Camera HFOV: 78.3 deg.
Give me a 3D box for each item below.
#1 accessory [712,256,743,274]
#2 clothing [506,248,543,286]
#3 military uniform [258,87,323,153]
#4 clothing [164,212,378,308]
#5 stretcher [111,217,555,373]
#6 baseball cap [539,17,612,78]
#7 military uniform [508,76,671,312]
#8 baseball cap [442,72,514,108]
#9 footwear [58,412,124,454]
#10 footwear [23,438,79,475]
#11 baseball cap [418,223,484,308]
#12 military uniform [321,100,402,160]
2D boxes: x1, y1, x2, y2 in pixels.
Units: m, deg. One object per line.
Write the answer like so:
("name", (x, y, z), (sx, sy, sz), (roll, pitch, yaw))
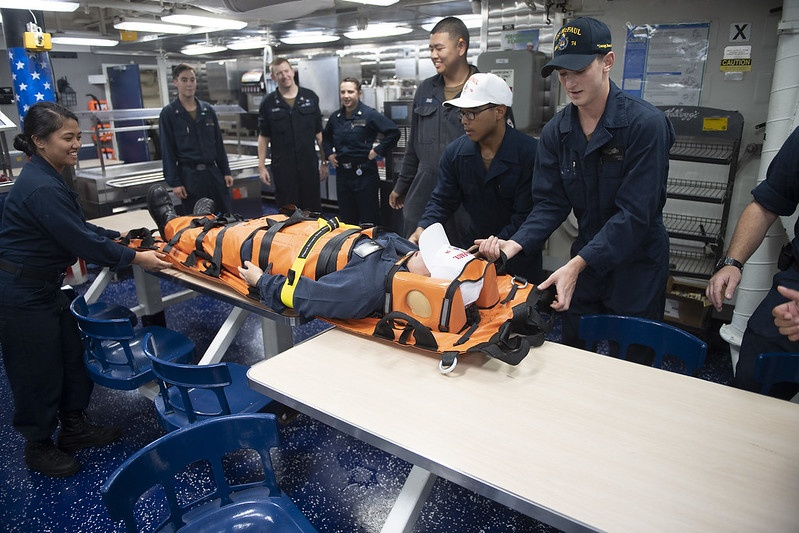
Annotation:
("accessory", (1.716, -0.007, 2.569), (0.058, 0.098, 0.096), (-54, 29, -16))
("clothing", (0.776, -0.005, 3.099), (0.226, 0.163, 0.123), (4, 9, 0))
("military uniform", (-1.336, -1.778, 6.005), (0.855, 0.863, 0.447), (-9, 21, -20))
("clothing", (-0.856, -0.153, 3.087), (1.084, 0.300, 0.694), (9, 35, 26))
("stretcher", (-0.505, 0.062, 2.953), (2.604, 0.468, 0.864), (12, 33, 33))
("baseball cap", (0.869, -1.112, 2.472), (0.354, 0.204, 0.225), (-35, 34, -7))
("military uniform", (1.068, -0.330, 2.675), (0.811, 1.238, 0.509), (11, 27, 29))
("baseball cap", (0.496, -1.068, 2.973), (0.317, 0.175, 0.224), (-9, 35, -8))
("footwear", (-2.022, 1.096, 3.195), (0.344, 0.257, 0.130), (-7, 32, -23))
("footwear", (-2.159, 1.182, 3.030), (0.303, 0.207, 0.118), (11, 25, 4))
("baseball cap", (0.247, 0.006, 2.531), (0.241, 0.381, 0.329), (-20, 29, -35))
("military uniform", (-0.444, -1.623, 5.891), (0.931, 0.654, 0.366), (7, 13, 27))
